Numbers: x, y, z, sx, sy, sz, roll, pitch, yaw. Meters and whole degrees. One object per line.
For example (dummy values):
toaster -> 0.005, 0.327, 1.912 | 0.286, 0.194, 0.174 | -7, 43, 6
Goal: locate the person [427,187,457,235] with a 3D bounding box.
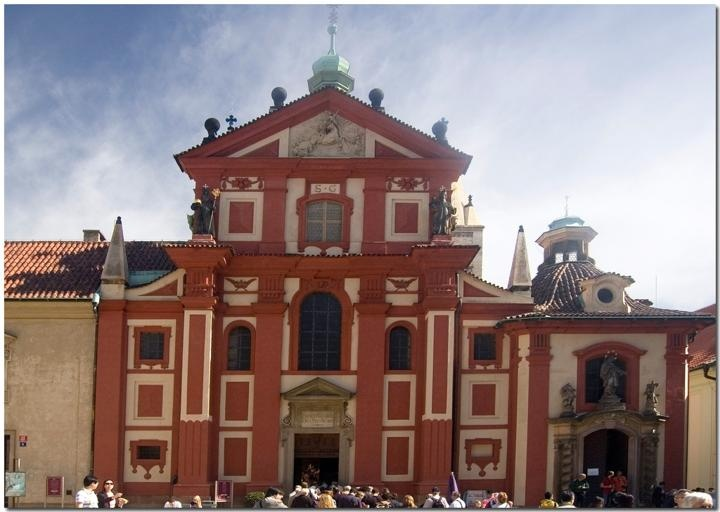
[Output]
person -> 3.249, -1.717, 62.907 | 0.962, 2.026, 0.872 | -1, -15, 1

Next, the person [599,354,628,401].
person -> 9.706, 4.608, 61.462 | 1.005, 1.880, 0.537 | 6, -17, -27

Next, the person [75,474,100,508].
person -> -8.835, 7.670, 52.250 | 0.612, 1.065, 1.342 | 0, -14, -5

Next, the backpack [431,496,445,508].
backpack -> 2.719, 8.495, 55.847 | 0.339, 0.391, 0.433 | 1, -1, 15

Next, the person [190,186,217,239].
person -> -6.082, -1.809, 62.811 | 1.027, 2.104, 0.788 | 3, -16, -14
